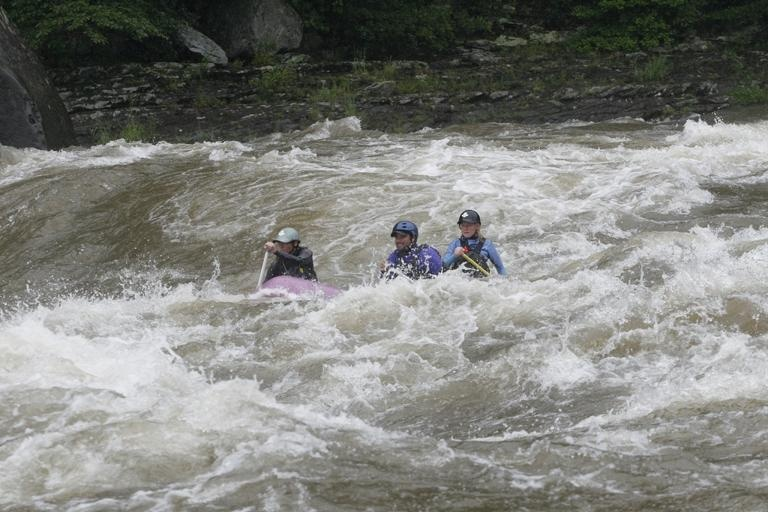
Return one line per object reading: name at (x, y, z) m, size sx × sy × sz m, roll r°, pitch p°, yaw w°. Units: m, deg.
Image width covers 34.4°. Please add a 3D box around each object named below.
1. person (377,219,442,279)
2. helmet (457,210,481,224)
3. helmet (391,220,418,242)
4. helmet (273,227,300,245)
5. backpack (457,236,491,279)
person at (0.490, -0.102, 25.932) m, size 1.301 × 1.181 × 0.619 m, roll -8°, pitch 18°, yaw 4°
helmet at (1.745, -0.800, 26.073) m, size 0.438 × 0.292 × 0.278 m, roll -9°, pitch 17°, yaw -3°
helmet at (0.369, -0.539, 26.096) m, size 0.550 × 0.331 × 0.394 m, roll -15°, pitch 10°, yaw -39°
helmet at (-2.017, -0.431, 26.093) m, size 0.354 × 0.196 × 0.480 m, roll 3°, pitch 0°, yaw 43°
backpack at (1.924, 0.044, 26.053) m, size 0.336 × 0.797 × 0.625 m, roll -32°, pitch -6°, yaw -21°
